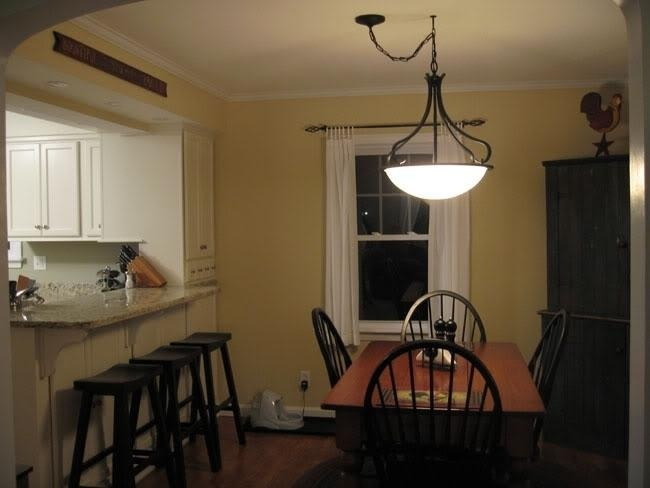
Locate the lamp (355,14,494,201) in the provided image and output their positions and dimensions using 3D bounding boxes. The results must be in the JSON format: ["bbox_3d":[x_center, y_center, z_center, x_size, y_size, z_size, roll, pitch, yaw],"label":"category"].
[{"bbox_3d":[0.592,-0.828,3.175,0.772,1.089,0.592,-1,1,8],"label":"lamp"}]

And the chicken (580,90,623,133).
[{"bbox_3d":[2.378,-1.121,4.564,0.280,0.374,0.428,3,6,40],"label":"chicken"}]

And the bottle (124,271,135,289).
[{"bbox_3d":[-1.743,0.303,4.765,0.144,0.145,0.062,2,5,34],"label":"bottle"}]

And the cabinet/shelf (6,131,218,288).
[{"bbox_3d":[-1.860,-0.373,4.841,1.327,1.071,0.502,-1,-2,7],"label":"cabinet/shelf"}]

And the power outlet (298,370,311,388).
[{"bbox_3d":[-0.187,1.273,5.091,0.103,0.190,0.046,-1,4,-2],"label":"power outlet"}]
